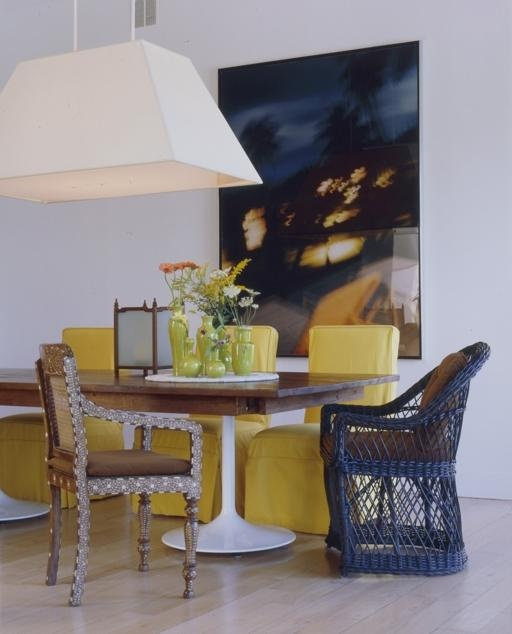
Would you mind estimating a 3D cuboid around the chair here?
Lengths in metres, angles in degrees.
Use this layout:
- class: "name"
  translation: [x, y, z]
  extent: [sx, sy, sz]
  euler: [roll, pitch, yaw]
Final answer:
- class: "chair"
  translation: [0.057, 0.565, 3.519]
  extent: [1.586, 0.868, 0.846]
  euler: [5, -11, -13]

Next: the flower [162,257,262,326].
- class: "flower"
  translation: [-0.227, -0.106, 3.908]
  extent: [0.510, 0.327, 0.459]
  euler: [3, 0, 23]
